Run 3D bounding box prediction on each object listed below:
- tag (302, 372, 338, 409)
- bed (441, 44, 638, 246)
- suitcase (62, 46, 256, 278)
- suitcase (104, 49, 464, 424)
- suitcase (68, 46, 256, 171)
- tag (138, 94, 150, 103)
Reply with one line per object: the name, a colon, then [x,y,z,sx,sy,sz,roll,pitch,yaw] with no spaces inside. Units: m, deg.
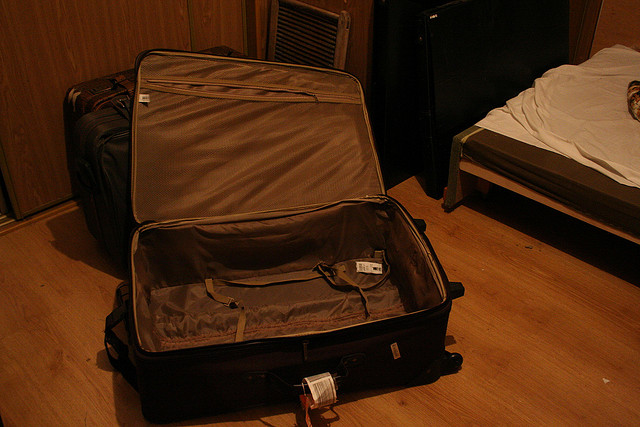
tag: [0.005,0.653,2.008,0.119,0.116,0.121,-13,59,-14]
bed: [1.342,-0.387,2.952,0.941,0.510,1.157,19,41,24]
suitcase: [-0.800,-0.244,2.804,0.864,0.799,0.510,-25,49,-36]
suitcase: [-0.204,0.339,2.724,1.769,1.205,1.458,-7,56,-9]
suitcase: [-0.701,-0.438,2.343,0.513,0.462,0.181,-22,21,-8]
tag: [-0.736,-0.476,2.218,0.041,0.030,0.009,5,5,-7]
